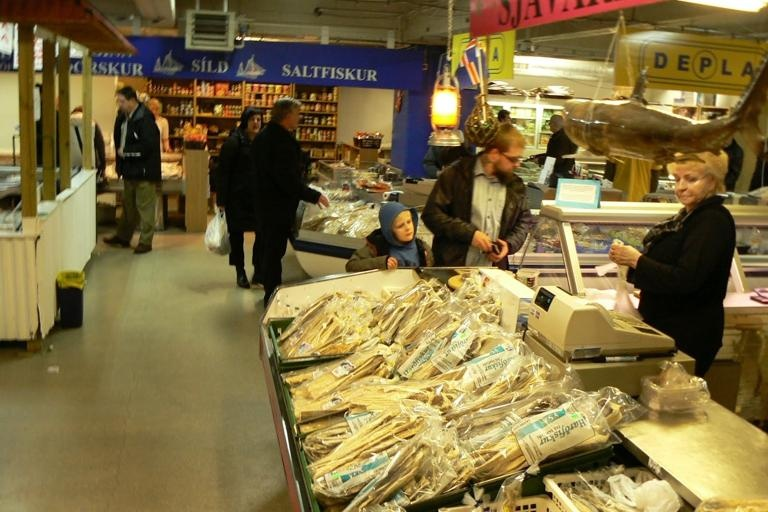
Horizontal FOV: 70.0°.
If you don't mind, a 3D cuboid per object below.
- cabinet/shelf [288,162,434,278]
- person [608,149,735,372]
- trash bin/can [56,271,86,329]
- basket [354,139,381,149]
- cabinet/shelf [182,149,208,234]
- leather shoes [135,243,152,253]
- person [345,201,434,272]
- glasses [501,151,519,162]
[{"bbox_3d":[-0.288,-0.340,5.770,1.368,0.497,1.571,-2,14,-12],"label":"cabinet/shelf"},{"bbox_3d":[1.736,0.059,3.247,0.559,1.315,0.460,16,21,42],"label":"person"},{"bbox_3d":[-3.180,0.445,5.547,0.277,0.530,0.304,-8,18,-29],"label":"trash bin/can"},{"bbox_3d":[-0.315,-2.199,10.868,0.423,0.260,0.467,-5,17,-19],"label":"basket"},{"bbox_3d":[-3.127,-1.022,9.068,0.467,1.313,1.428,1,3,-11],"label":"cabinet/shelf"},{"bbox_3d":[-3.507,-0.076,7.986,0.103,0.123,0.277,1,-3,8],"label":"leather shoes"},{"bbox_3d":[0.014,-0.071,3.918,0.587,0.512,0.896,3,16,9],"label":"person"},{"bbox_3d":[0.940,-0.692,4.010,0.071,0.023,0.073,4,32,-23],"label":"glasses"}]
